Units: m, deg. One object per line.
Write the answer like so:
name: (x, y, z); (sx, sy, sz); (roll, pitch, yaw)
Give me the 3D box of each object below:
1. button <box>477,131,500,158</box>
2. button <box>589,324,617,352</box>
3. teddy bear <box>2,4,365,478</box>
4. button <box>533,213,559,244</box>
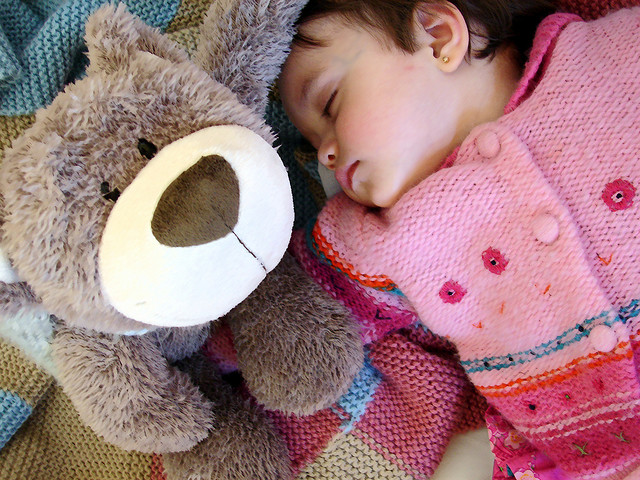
button: (0.278, -0.157, 1.057); (0.034, 0.021, 0.042); (2, 81, 3)
button: (0.439, 0.153, 0.991); (0.038, 0.021, 0.041); (-27, 81, -2)
teddy bear: (-0.217, 0.017, 0.951); (0.481, 0.511, 0.337); (-35, 42, -22)
button: (0.360, -0.018, 1.018); (0.043, 0.022, 0.042); (25, 83, 6)
